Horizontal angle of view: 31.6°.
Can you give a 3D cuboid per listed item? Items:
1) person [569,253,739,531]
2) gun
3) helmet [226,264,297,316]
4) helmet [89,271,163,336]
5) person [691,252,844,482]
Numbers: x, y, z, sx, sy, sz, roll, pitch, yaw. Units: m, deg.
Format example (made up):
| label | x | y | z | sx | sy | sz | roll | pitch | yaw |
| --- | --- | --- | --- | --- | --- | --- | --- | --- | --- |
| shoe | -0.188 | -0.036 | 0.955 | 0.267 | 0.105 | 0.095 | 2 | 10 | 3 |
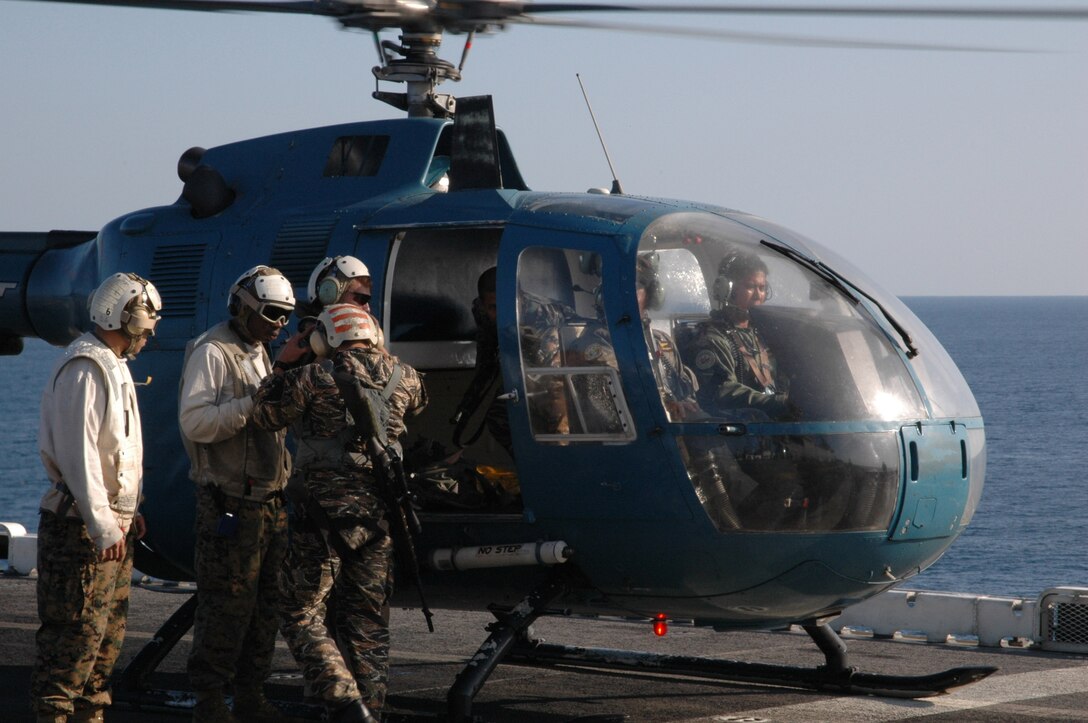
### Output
| label | x | y | z | sx | sy | sz | roll | pitch | yaw |
| --- | --- | --- | --- | --- | --- | --- | --- | --- | --- |
| person | 0.785 | 0.193 | 13.510 | 0.777 | 2.182 | 0.953 | -8 | 3 | 23 |
| gun | -1.075 | 0.752 | 13.055 | 0.357 | 1.521 | 0.523 | -8 | -10 | 28 |
| helmet | -1.925 | -0.505 | 13.588 | 0.458 | 0.395 | 0.517 | -5 | 20 | -22 |
| helmet | -2.767 | -0.380 | 13.242 | 0.620 | 0.416 | 0.471 | 8 | 6 | 30 |
| person | 1.346 | -0.177 | 13.277 | 0.706 | 1.190 | 0.185 | -2 | -9 | 1 |
